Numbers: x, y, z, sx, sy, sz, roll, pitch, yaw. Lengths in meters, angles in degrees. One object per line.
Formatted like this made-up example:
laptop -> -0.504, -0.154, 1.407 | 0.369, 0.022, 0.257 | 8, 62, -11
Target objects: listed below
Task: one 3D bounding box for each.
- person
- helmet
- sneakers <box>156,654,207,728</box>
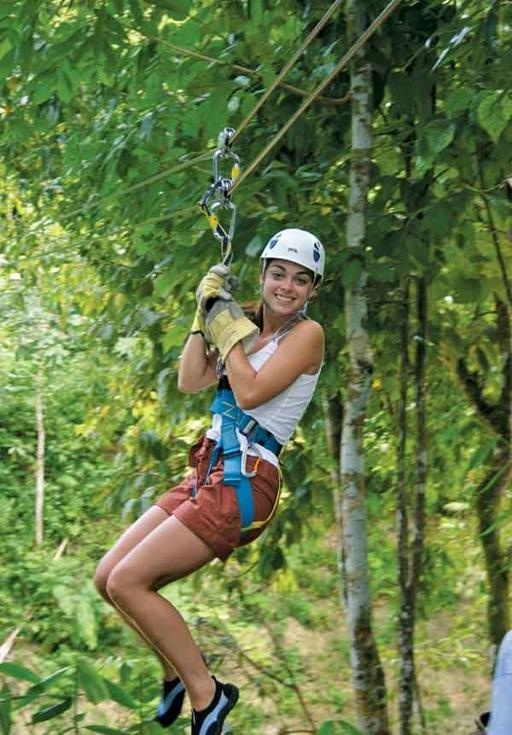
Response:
person -> -0.207, 0.376, 3.132 | 0.573, 1.798, 0.801 | 15, -21, -36
helmet -> 0.152, -0.393, 3.260 | 0.216, 0.179, 0.246 | 23, 0, 0
sneakers -> -0.301, 1.267, 3.364 | 0.130, 0.250, 0.092 | 15, 27, -2
